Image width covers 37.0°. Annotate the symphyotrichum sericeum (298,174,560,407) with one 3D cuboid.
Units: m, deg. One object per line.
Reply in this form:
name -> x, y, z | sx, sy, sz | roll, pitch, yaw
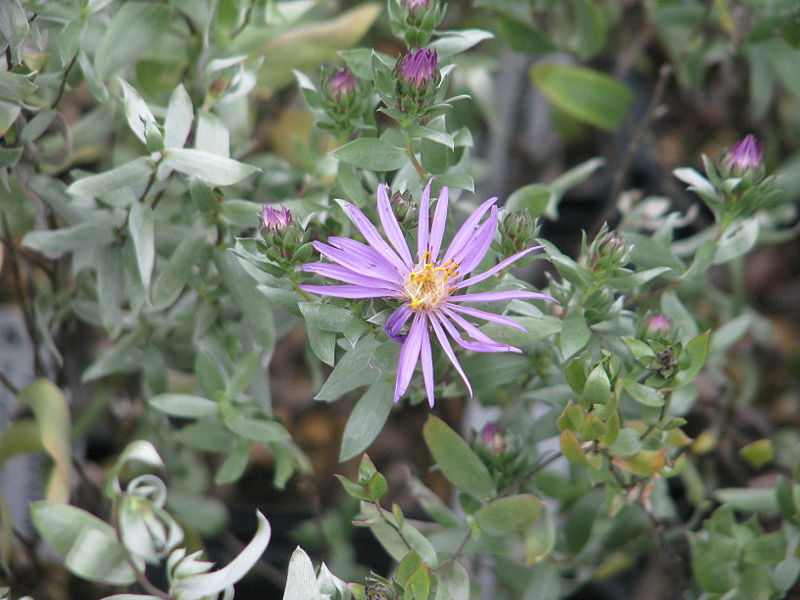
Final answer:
symphyotrichum sericeum -> 0.019, -0.028, 1.072 | 0.207, 0.252, 0.095 | 0, -66, 37
